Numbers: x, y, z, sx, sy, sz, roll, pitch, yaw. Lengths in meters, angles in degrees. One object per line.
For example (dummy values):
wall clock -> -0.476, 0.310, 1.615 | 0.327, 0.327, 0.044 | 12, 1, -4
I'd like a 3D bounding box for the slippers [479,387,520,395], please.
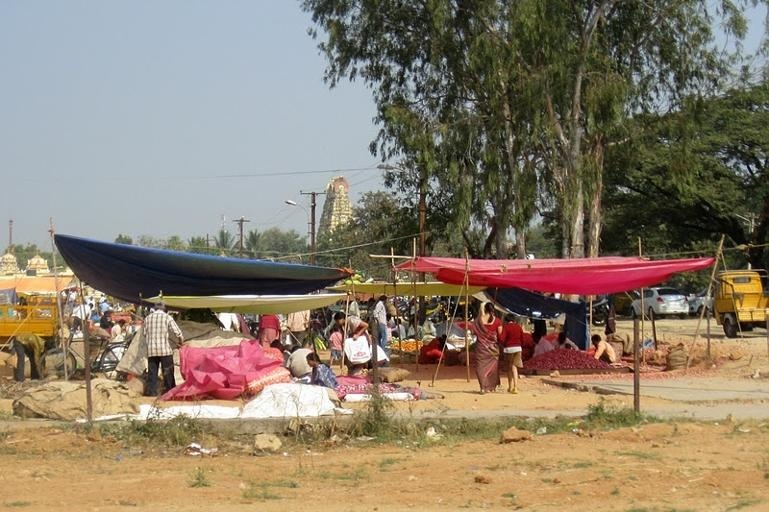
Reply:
slippers -> 2.908, 3.719, 31.023 | 0.918, 0.163, 0.095 | 5, -19, 5
